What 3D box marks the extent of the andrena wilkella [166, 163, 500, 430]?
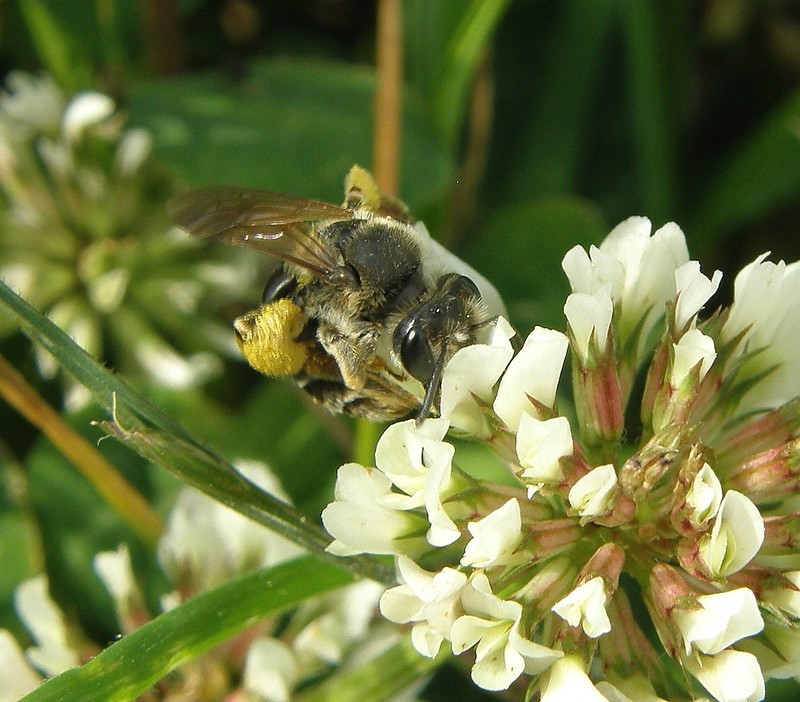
[{"bbox_3d":[-0.071,-0.086,1.258,0.279,0.128,0.364,2,26,-37],"label":"andrena wilkella"}]
